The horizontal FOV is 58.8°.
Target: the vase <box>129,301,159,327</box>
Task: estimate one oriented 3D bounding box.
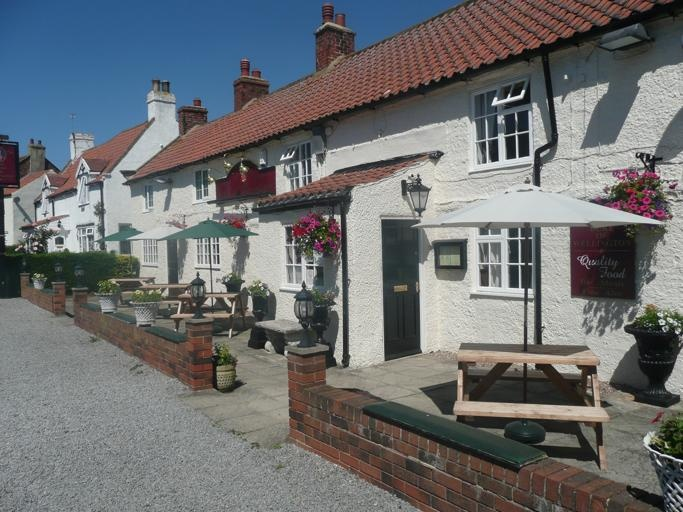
[{"bbox_3d":[-4.390,1.304,13.783,0.729,0.610,0.679,1,-5,-10],"label":"vase"}]

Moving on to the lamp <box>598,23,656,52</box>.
[{"bbox_3d":[4.270,-3.338,9.184,0.710,0.307,0.509,3,11,26],"label":"lamp"}]

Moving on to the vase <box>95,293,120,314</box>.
[{"bbox_3d":[-5.937,1.178,15.434,0.735,0.474,0.684,0,-6,-9],"label":"vase"}]

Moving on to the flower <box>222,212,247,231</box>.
[{"bbox_3d":[-2.748,-0.937,16.142,0.634,0.411,0.509,6,7,42],"label":"flower"}]

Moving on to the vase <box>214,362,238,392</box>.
[{"bbox_3d":[-1.853,2.007,9.934,0.453,0.409,0.412,0,-6,-1],"label":"vase"}]

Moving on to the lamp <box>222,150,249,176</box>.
[{"bbox_3d":[-2.857,-2.563,16.625,0.468,0.609,1.371,-8,11,-28],"label":"lamp"}]

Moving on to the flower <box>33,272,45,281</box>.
[{"bbox_3d":[-11.396,0.766,22.959,0.260,0.113,0.243,8,14,15],"label":"flower"}]

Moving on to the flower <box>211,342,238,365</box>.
[{"bbox_3d":[-1.948,1.627,10.035,0.358,0.301,0.434,-5,10,-20],"label":"flower"}]

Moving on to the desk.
[{"bbox_3d":[2.521,1.882,7.966,1.454,0.843,1.837,-1,-3,15],"label":"desk"}]

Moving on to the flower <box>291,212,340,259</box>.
[{"bbox_3d":[-0.460,-0.397,11.534,0.542,0.826,0.918,-8,12,-30],"label":"flower"}]

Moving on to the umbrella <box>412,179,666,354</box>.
[{"bbox_3d":[2.541,0.230,8.289,2.222,2.394,1.828,-7,11,-26],"label":"umbrella"}]

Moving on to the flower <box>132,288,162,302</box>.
[{"bbox_3d":[-4.420,0.906,13.627,0.496,0.289,0.479,3,2,22],"label":"flower"}]

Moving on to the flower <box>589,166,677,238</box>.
[{"bbox_3d":[4.626,-0.846,9.543,1.236,0.933,1.085,7,10,36],"label":"flower"}]

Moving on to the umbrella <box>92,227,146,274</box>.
[{"bbox_3d":[-8.561,-0.192,23.661,2.114,1.842,2.090,2,1,27],"label":"umbrella"}]

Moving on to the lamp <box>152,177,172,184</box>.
[{"bbox_3d":[-6.072,-2.589,20.716,0.551,0.253,0.304,13,-9,-31],"label":"lamp"}]

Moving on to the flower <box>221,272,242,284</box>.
[{"bbox_3d":[-2.843,0.565,15.817,0.374,0.224,0.349,2,2,-5],"label":"flower"}]

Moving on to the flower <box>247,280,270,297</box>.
[{"bbox_3d":[-1.924,0.773,14.317,0.455,0.297,0.693,-4,10,-14],"label":"flower"}]

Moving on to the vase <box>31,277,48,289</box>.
[{"bbox_3d":[-10.919,0.993,22.075,0.619,0.379,0.576,1,-4,-13],"label":"vase"}]

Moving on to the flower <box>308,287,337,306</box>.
[{"bbox_3d":[-0.333,0.782,11.620,0.409,0.199,0.368,-1,4,-15],"label":"flower"}]

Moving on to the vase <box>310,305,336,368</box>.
[{"bbox_3d":[-0.413,1.514,11.542,0.623,1.057,0.572,-2,-3,-23],"label":"vase"}]

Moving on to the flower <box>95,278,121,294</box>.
[{"bbox_3d":[-6.097,0.765,15.947,0.540,0.354,1.081,-6,10,-21],"label":"flower"}]
